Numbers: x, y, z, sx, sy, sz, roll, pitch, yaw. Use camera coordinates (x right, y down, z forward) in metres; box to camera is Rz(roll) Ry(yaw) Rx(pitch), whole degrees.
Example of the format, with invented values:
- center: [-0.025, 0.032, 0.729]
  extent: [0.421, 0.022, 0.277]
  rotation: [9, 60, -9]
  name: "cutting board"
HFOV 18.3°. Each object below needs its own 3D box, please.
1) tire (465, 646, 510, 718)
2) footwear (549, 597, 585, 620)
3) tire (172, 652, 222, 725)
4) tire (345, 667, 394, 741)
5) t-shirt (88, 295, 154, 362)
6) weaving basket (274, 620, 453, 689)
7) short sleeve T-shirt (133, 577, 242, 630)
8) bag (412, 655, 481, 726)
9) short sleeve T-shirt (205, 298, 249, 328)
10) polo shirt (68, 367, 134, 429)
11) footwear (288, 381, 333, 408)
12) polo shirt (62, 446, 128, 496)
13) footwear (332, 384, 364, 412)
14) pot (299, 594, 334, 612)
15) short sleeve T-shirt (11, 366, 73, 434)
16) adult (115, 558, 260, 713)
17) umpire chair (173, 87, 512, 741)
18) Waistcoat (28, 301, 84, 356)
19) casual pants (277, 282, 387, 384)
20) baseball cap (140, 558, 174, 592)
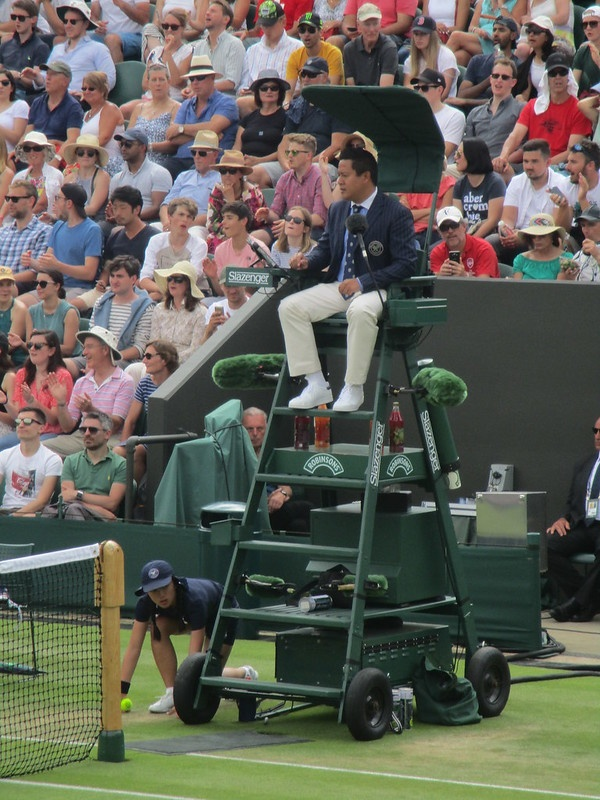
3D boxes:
- center: [1.122, 1.745, 11.428]
  extent: [0.206, 0.403, 0.369]
  rotation: [-1, 7, 38]
  name: "tire"
- center: [1.988, 1.598, 14.026]
  extent: [0.294, 0.123, 0.097]
  rotation: [7, -2, -26]
  name: "footwear"
- center: [-0.616, 1.742, 11.174]
  extent: [0.157, 0.494, 0.443]
  rotation: [10, 5, 33]
  name: "tire"
- center: [0.380, 1.766, 10.788]
  extent: [0.139, 0.405, 0.378]
  rotation: [-4, -11, 39]
  name: "tire"
- center: [-1.547, -0.597, 16.237]
  extent: [0.618, 0.643, 0.367]
  rotation: [0, -6, 19]
  name: "t-shirt"
- center: [0.442, 1.542, 11.378]
  extent: [0.670, 0.240, 0.526]
  rotation: [0, -1, -40]
  name: "weaving basket"
- center: [-0.743, 1.249, 11.717]
  extent: [0.478, 0.304, 0.816]
  rotation: [-14, -3, 14]
  name: "short sleeve T-shirt"
- center: [0.864, 1.786, 11.394]
  extent: [0.358, 0.416, 0.467]
  rotation: [-14, -12, 42]
  name: "bag"
- center: [-0.697, -0.775, 16.175]
  extent: [0.247, 0.242, 0.107]
  rotation: [19, -13, -7]
  name: "short sleeve T-shirt"
- center: [-1.641, 0.001, 15.452]
  extent: [0.477, 0.457, 0.263]
  rotation: [-2, -11, 19]
  name: "polo shirt"
- center: [0.071, -0.022, 11.402]
  extent: [0.114, 0.136, 0.324]
  rotation: [-3, 1, 38]
  name: "footwear"
- center: [-1.638, 0.590, 14.996]
  extent: [0.385, 0.306, 0.163]
  rotation: [0, -8, 11]
  name: "polo shirt"
- center: [0.277, -0.003, 11.271]
  extent: [0.168, 0.126, 0.205]
  rotation: [2, 0, 0]
  name: "footwear"
- center: [0.086, 1.222, 11.164]
  extent: [0.165, 0.089, 0.159]
  rotation: [-17, -16, -5]
  name: "pot"
- center: [-2.139, 0.009, 15.592]
  extent: [0.580, 0.666, 0.374]
  rotation: [0, -2, 18]
  name: "short sleeve T-shirt"
- center: [-0.694, 1.464, 11.618]
  extent: [0.521, 0.932, 1.127]
  rotation: [0, 3, 45]
  name: "adult"
- center: [0.295, 0.079, 11.415]
  extent: [1.874, 2.990, 1.520]
  rotation: [2, 1, 16]
  name: "umpire chair"
- center: [-2.236, -0.631, 16.644]
  extent: [0.448, 0.528, 0.527]
  rotation: [4, 25, 6]
  name: "Waistcoat"
- center: [0.161, -0.466, 11.391]
  extent: [0.588, 0.608, 0.622]
  rotation: [-4, 19, 0]
  name: "casual pants"
- center: [-0.862, 1.063, 11.316]
  extent: [0.149, 0.125, 0.210]
  rotation: [-14, 8, 16]
  name: "baseball cap"
